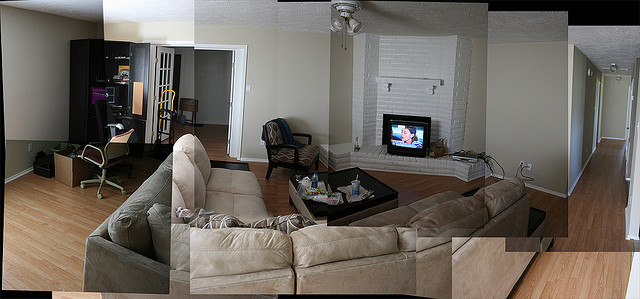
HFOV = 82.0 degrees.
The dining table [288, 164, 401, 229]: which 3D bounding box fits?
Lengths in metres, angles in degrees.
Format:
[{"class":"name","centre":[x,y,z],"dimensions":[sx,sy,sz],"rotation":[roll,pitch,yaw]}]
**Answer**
[{"class":"dining table","centre":[0.305,0.681,5.219],"dimensions":[1.231,0.399,1.096],"rotation":[-11,26,-20]}]

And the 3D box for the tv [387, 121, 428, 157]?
[{"class":"tv","centre":[1.065,-0.118,5.210],"dimensions":[0.768,0.475,0.382],"rotation":[6,-9,-32]}]

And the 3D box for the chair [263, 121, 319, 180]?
[{"class":"chair","centre":[-0.414,-0.024,5.687],"dimensions":[0.820,0.678,0.592],"rotation":[9,27,9]}]

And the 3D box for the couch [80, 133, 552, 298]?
[{"class":"couch","centre":[-0.058,1.036,5.212],"dimensions":[6.175,2.037,1.326],"rotation":[0,11,-10]}]
